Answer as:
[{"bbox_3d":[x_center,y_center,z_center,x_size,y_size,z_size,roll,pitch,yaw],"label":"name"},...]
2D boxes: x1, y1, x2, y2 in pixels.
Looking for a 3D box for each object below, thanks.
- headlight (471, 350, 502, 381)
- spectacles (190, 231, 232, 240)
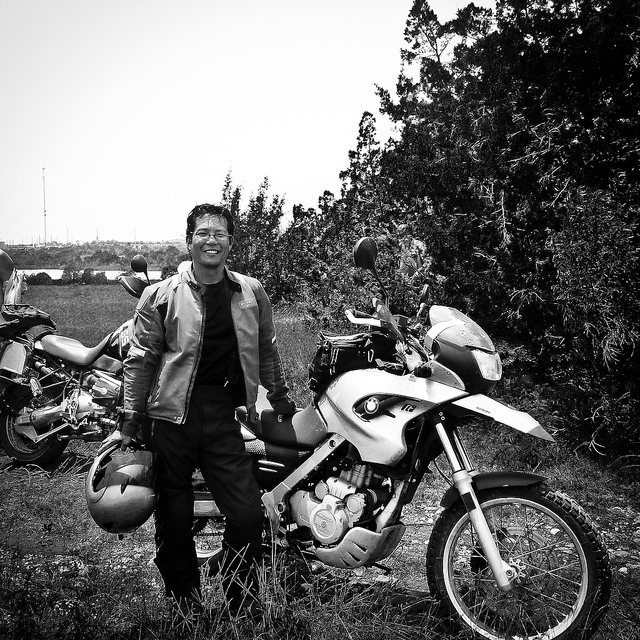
[{"bbox_3d":[0.764,0.203,2.526,0.192,0.132,0.078,0,5,-40],"label":"headlight"},{"bbox_3d":[-0.534,-0.408,2.723,0.169,0.040,0.061,3,4,-13],"label":"spectacles"}]
